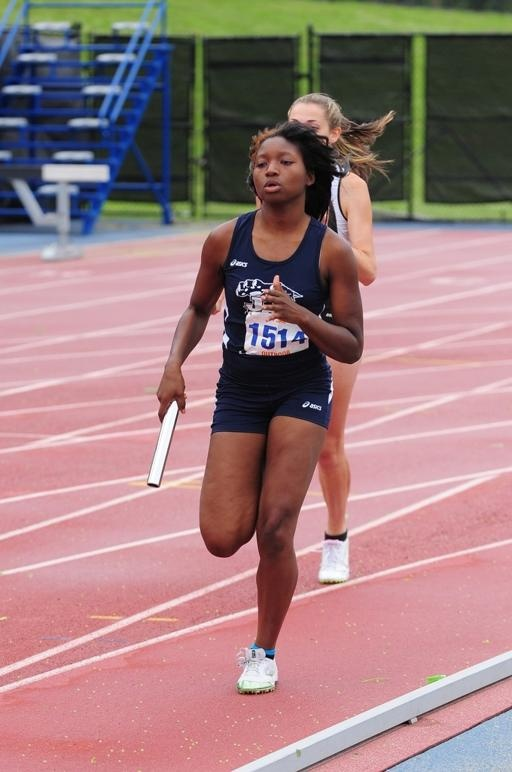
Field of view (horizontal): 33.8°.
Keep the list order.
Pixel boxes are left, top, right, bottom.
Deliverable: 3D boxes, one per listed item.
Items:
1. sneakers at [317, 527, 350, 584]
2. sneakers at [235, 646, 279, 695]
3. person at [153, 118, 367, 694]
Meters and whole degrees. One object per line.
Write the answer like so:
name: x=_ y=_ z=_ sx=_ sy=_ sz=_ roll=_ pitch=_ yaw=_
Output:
sneakers: x=0.297 y=0.656 z=3.196 sx=0.085 sy=0.087 sz=0.209 roll=0 pitch=19 yaw=8
sneakers: x=0.005 y=0.754 z=2.249 sx=0.091 sy=0.115 sz=0.126 roll=0 pitch=8 yaw=12
person: x=0.016 y=0.043 z=2.320 sx=0.569 sy=1.507 sz=0.469 roll=-3 pitch=9 yaw=-6
